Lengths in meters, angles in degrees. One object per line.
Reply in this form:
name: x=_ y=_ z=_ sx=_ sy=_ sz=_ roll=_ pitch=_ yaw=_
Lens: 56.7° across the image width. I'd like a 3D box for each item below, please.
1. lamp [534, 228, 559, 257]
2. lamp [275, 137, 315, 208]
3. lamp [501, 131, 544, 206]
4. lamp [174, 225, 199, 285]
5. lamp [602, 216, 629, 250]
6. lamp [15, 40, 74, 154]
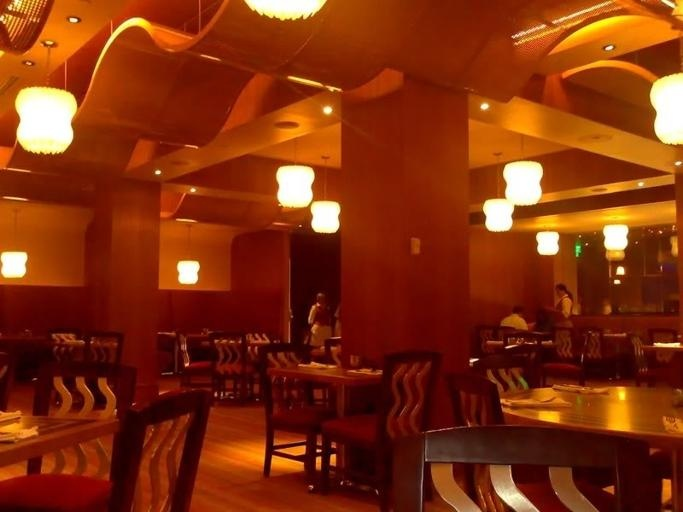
lamp: x=4.321 y=-0.248 z=13.205 sx=0.546 sy=0.594 sz=0.583 roll=0 pitch=-5 yaw=-3
lamp: x=-0.649 y=-1.020 z=8.660 sx=0.550 sy=0.634 sz=0.565 roll=1 pitch=-2 yaw=-7
lamp: x=2.375 y=-1.030 z=8.525 sx=0.556 sy=1.097 sz=0.568 roll=0 pitch=1 yaw=-25
lamp: x=-3.512 y=-0.063 z=14.465 sx=0.477 sy=1.370 sz=1.387 roll=2 pitch=-6 yaw=-15
lamp: x=5.500 y=-0.428 z=12.705 sx=0.554 sy=0.645 sz=0.589 roll=1 pitch=-9 yaw=-5
lamp: x=-2.814 y=-1.313 z=6.017 sx=0.516 sy=0.574 sz=0.332 roll=4 pitch=-6 yaw=-30
